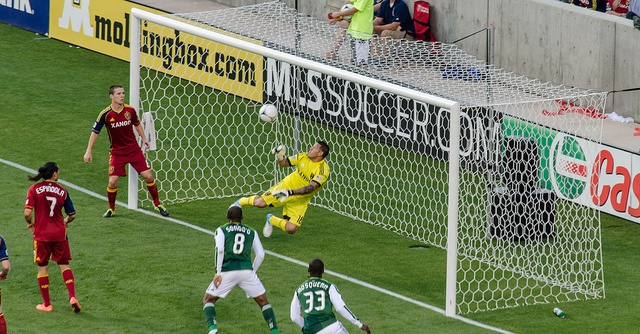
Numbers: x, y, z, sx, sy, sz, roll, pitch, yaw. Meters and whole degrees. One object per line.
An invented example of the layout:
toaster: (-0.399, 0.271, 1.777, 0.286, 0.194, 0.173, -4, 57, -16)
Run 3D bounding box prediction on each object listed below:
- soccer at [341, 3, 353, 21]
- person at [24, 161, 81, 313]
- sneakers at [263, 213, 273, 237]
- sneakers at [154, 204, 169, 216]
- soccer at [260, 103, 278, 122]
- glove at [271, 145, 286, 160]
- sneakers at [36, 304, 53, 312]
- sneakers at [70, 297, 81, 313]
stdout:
soccer: (0.684, -3.986, 22.049, 0.207, 0.362, 0.367, 8, 11, -6)
person: (-4.845, 1.275, 15.698, 0.822, 2.564, 1.366, -5, 24, -40)
sneakers: (-1.071, 1.216, 17.806, 0.183, 0.452, 0.196, 1, 15, -7)
sneakers: (-3.336, 0.932, 18.402, 0.398, 0.157, 0.151, 38, 45, 27)
soccer: (-1.118, -1.118, 17.727, 0.336, 0.343, 0.353, 8, 0, 42)
glove: (-0.831, -0.267, 17.668, 0.146, 0.297, 0.234, -27, 74, -23)
sneakers: (-4.996, 2.544, 15.673, 0.249, 0.105, 0.123, 10, 17, 23)
sneakers: (-4.398, 2.496, 15.595, 0.144, 0.152, 0.330, 0, -26, 6)
